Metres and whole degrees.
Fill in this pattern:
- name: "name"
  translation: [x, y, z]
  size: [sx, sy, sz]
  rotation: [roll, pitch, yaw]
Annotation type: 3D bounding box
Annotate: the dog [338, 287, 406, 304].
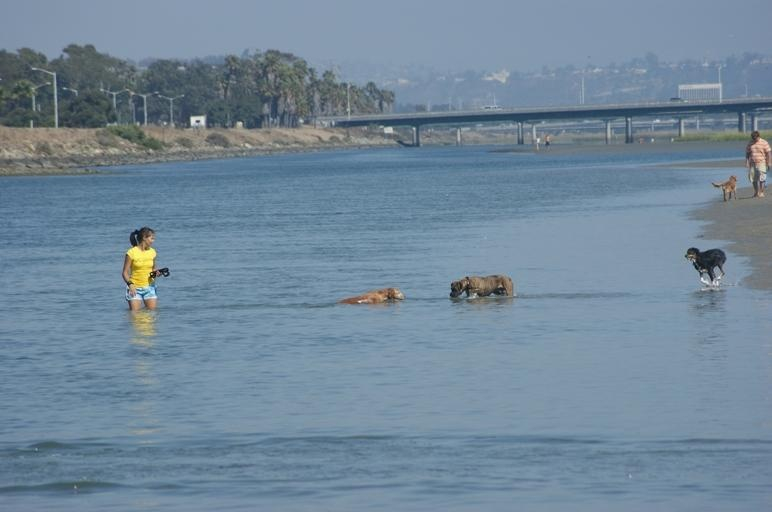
- name: "dog"
  translation: [-0.876, 2.139, 106.487]
  size: [3.424, 0.866, 0.866]
  rotation: [-1, 4, -4]
